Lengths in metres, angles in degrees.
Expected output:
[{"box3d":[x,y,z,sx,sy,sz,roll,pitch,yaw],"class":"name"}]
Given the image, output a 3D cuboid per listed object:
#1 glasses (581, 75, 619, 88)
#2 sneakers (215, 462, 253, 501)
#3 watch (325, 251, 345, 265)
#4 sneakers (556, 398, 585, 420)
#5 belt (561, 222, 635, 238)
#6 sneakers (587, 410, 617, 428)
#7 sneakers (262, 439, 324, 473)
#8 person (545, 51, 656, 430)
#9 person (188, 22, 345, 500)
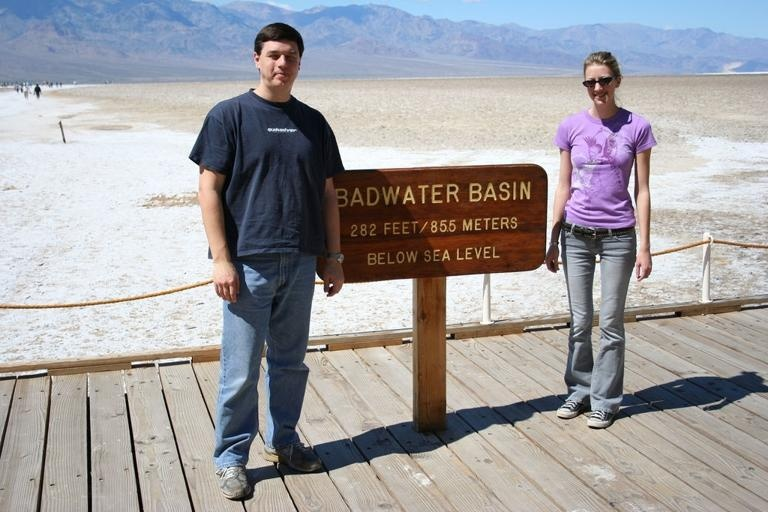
[{"box3d":[1.238,-1.027,3.571,0.107,0.071,0.199,-16,24,-36],"class":"glasses"},{"box3d":[-0.812,1.184,3.282,0.159,0.124,0.367,1,3,-21],"class":"sneakers"},{"box3d":[-0.272,0.003,3.308,0.089,0.048,0.084,10,3,-1],"class":"watch"},{"box3d":[1.193,0.988,3.902,0.232,0.082,0.082,2,12,-35],"class":"sneakers"},{"box3d":[1.284,-0.153,3.667,0.415,0.075,0.101,6,21,18],"class":"belt"},{"box3d":[1.363,1.021,3.798,0.221,0.079,0.079,5,-2,-42],"class":"sneakers"},{"box3d":[-0.512,1.116,3.442,0.310,0.123,0.151,7,5,14],"class":"sneakers"},{"box3d":[1.321,-0.090,3.713,0.601,2.221,0.799,0,21,1],"class":"person"},{"box3d":[-0.593,0.035,3.168,0.934,2.369,0.600,-14,25,-31],"class":"person"}]
